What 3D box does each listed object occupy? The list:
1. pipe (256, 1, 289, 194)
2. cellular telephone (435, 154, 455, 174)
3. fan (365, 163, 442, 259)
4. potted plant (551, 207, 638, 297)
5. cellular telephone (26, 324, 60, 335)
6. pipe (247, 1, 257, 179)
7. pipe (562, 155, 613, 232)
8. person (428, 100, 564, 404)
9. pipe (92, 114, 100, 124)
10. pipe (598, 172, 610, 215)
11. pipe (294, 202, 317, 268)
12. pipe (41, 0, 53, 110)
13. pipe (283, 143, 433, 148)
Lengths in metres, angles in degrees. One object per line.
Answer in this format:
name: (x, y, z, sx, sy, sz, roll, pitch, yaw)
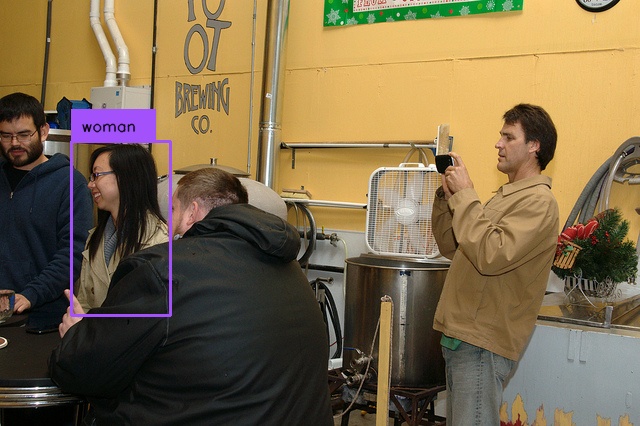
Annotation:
pipe: (-0.403, -0.968, 5.001, 0.232, 1.566, 0.217, 1, 4, -6)
cellular telephone: (0.686, -0.269, 3.281, 0.102, 0.107, 0.100, 2, 3, 7)
fan: (0.552, 0.004, 3.912, 0.553, 0.728, 0.292, 1, -1, 29)
potted plant: (1.620, 0.243, 3.521, 0.442, 0.549, 0.273, 3, 4, 25)
cellular telephone: (-1.361, 0.570, 2.920, 0.144, 0.016, 0.085, -5, 11, -25)
pipe: (-0.597, -1.107, 5.181, 0.051, 1.499, 0.214, 1, 4, -4)
pipe: (1.860, -0.149, 4.145, 0.320, 0.512, 0.271, 3, 4, 11)
person: (0.920, 0.214, 3.158, 0.632, 1.611, 0.403, 3, 4, 14)
pipe: (-2.114, -0.883, 5.599, 0.084, 0.089, 0.038, 4, 4, 27)
pipe: (1.917, -0.147, 4.035, 0.053, 0.262, 0.163, 3, 4, 25)
pipe: (-0.121, 0.171, 4.824, 0.183, 0.515, 0.331, 1, 3, -6)
pipe: (-2.806, -1.653, 6.111, 0.106, 1.120, 0.293, 0, 4, -25)
pipe: (0.302, -0.552, 4.881, 1.259, 0.031, 0.153, 4, 3, 25)
